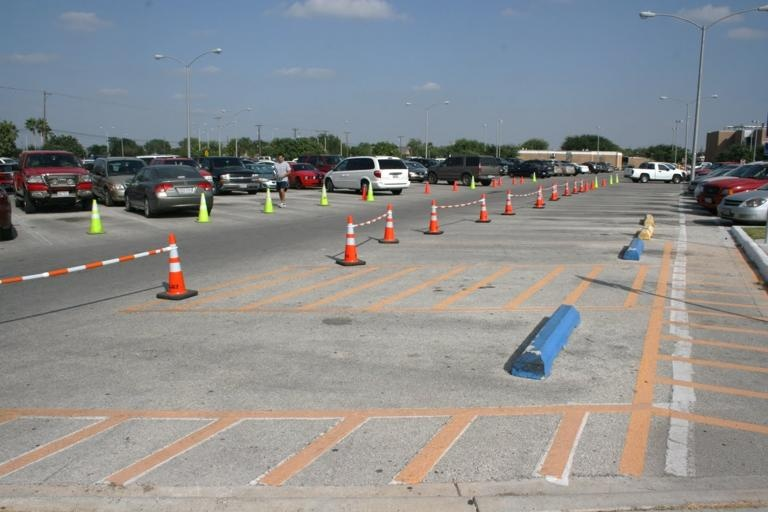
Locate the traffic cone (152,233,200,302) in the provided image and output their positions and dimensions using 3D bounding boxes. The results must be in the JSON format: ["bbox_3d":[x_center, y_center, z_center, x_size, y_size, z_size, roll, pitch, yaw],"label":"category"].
[{"bbox_3d":[-3.639,0.176,9.525,0.854,0.967,0.811,-8,10,-39],"label":"traffic cone"}]

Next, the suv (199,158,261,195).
[{"bbox_3d":[-8.693,-4.680,31.169,1.842,1.194,3.582,-5,9,-37],"label":"suv"}]

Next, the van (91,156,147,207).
[{"bbox_3d":[-12.076,-3.481,24.893,1.962,1.244,3.317,-4,6,-34],"label":"van"}]

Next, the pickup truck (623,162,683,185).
[{"bbox_3d":[27.261,-8.380,55.546,5.003,1.493,2.498,0,10,6],"label":"pickup truck"}]

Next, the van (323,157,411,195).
[{"bbox_3d":[-1.220,-4.843,32.711,4.924,1.621,2.595,13,17,40],"label":"van"}]

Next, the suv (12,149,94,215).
[{"bbox_3d":[-13.035,-3.084,21.693,2.329,1.575,3.781,-3,5,-35],"label":"suv"}]
